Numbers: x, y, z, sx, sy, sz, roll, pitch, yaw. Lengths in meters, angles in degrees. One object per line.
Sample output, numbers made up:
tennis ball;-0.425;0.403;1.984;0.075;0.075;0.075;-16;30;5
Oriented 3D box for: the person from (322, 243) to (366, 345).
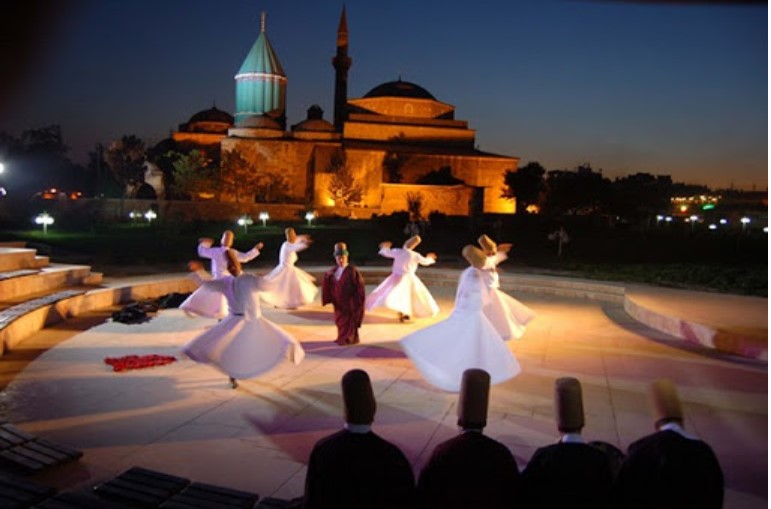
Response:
person;-0.847;0.777;11.050;0.818;2.034;1.271;-2;9;-18
